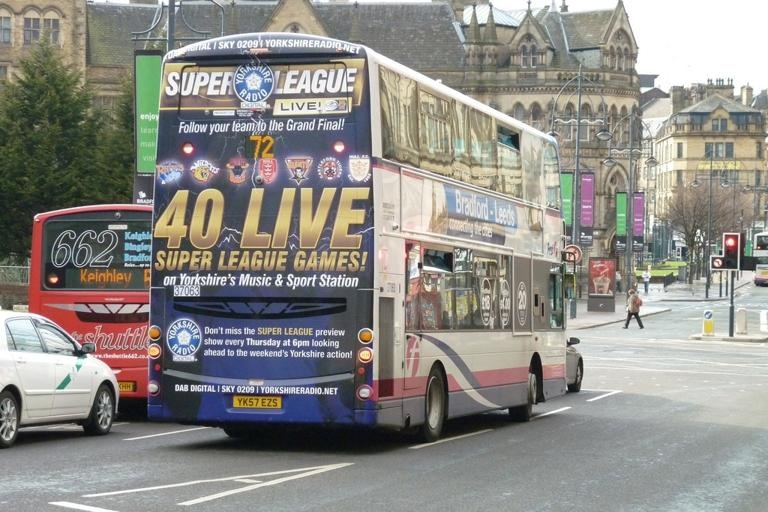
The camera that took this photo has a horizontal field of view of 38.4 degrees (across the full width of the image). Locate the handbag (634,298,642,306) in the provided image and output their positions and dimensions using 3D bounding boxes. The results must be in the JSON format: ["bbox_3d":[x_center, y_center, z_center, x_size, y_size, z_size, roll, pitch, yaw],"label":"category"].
[{"bbox_3d":[12.165,2.188,52.762,0.269,0.381,0.375,6,-14,-1],"label":"handbag"}]

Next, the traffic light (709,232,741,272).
[{"bbox_3d":[13.786,-0.179,44.558,1.147,1.413,1.135,3,1,17],"label":"traffic light"}]
